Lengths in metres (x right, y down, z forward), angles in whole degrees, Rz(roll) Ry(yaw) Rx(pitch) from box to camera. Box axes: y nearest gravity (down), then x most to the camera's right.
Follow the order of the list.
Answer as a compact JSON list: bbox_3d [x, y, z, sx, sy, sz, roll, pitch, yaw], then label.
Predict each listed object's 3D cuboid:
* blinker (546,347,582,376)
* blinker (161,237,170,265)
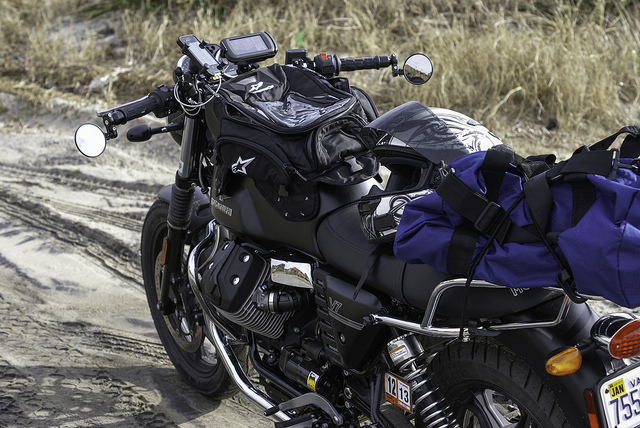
[{"bbox_3d":[1.301,0.783,3.468,0.164,0.128,0.042,-26,5,3],"label":"blinker"},{"bbox_3d":[-1.159,0.274,4.823,0.032,0.271,0.138,0,14,-20],"label":"blinker"}]
